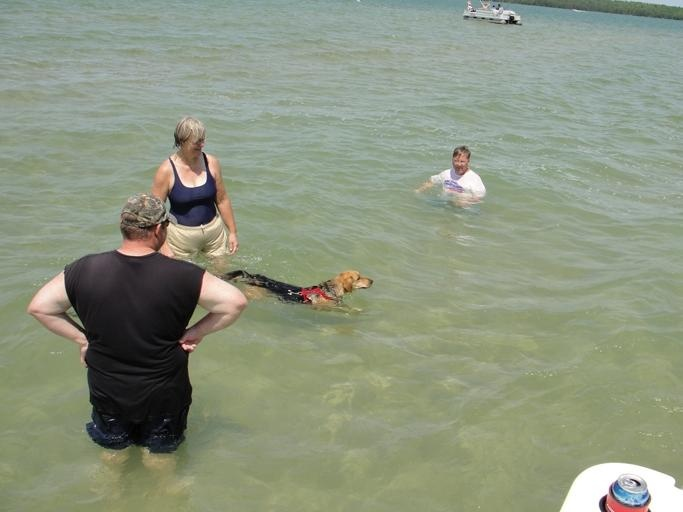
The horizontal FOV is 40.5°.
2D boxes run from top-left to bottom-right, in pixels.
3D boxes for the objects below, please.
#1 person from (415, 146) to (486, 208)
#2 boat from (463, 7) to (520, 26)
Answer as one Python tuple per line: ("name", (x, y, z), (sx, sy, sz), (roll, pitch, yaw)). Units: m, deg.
("person", (2.084, -1.472, 17.393), (0.867, 1.098, 1.300), (-22, 31, -36))
("boat", (8.868, -13.989, 53.574), (2.749, 0.887, 3.346), (-8, 27, -29))
